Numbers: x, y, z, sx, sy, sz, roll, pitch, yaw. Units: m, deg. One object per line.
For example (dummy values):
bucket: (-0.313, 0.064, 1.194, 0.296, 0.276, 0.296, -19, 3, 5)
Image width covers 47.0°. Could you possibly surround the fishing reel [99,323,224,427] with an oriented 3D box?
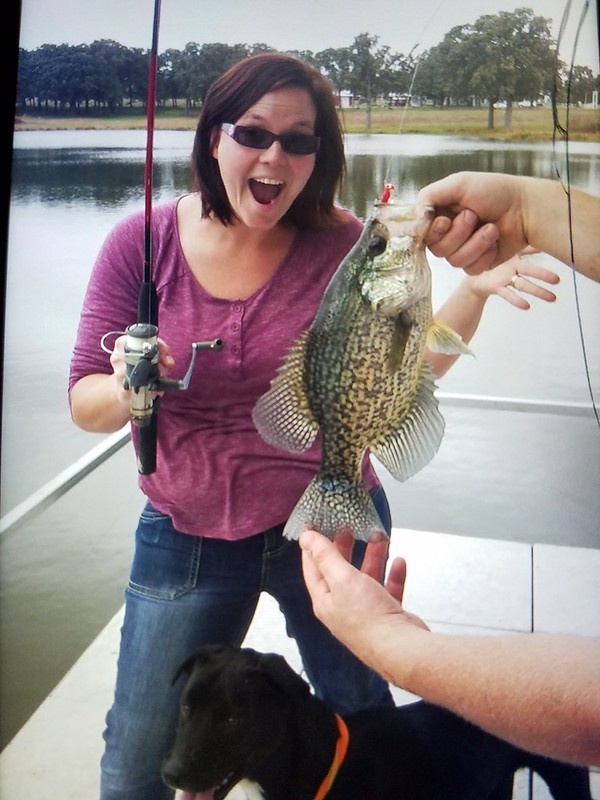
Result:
fishing reel: (-0.208, -0.034, 0.973, 0.170, 0.133, 0.096, 4, 6, -8)
